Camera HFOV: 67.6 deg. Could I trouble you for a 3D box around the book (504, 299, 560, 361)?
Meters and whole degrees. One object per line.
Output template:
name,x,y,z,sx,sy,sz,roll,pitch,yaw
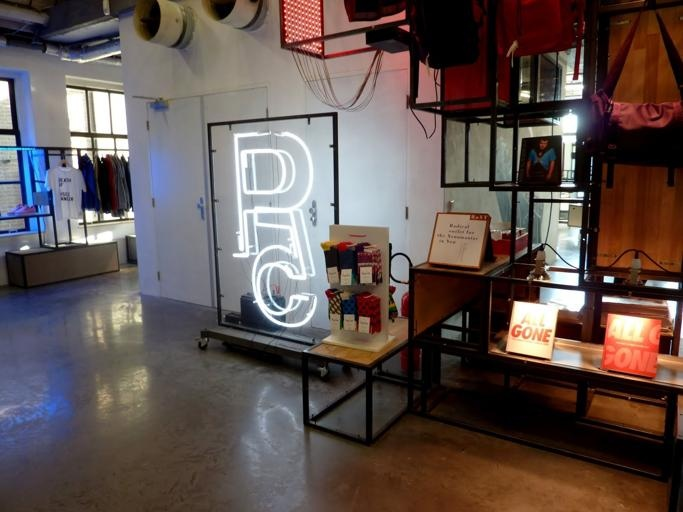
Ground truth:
book,1.525,0.614,4.106,0.346,0.473,0.058,7,-13,28

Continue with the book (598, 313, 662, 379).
book,2.135,0.685,3.780,0.359,0.513,0.041,6,-14,28

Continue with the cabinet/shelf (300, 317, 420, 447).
cabinet/shelf,0.163,1.044,4.596,0.846,0.794,1.013,5,11,30

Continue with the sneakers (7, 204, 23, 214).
sneakers,-5.733,-0.818,8.980,0.194,0.128,0.308,-1,6,-37
